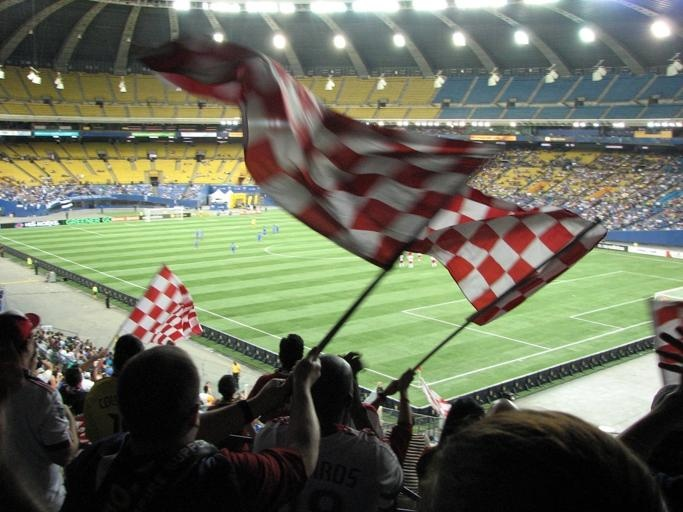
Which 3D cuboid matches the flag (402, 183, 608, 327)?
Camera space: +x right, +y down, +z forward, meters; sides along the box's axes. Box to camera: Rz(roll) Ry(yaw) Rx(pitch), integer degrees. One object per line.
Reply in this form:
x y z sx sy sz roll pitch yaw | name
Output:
1.637 -0.042 5.720 2.101 1.656 0.775 33 9 2 | flag

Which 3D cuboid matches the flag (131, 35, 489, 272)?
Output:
-0.165 -0.750 3.688 2.400 1.624 0.655 3 -6 8 | flag
